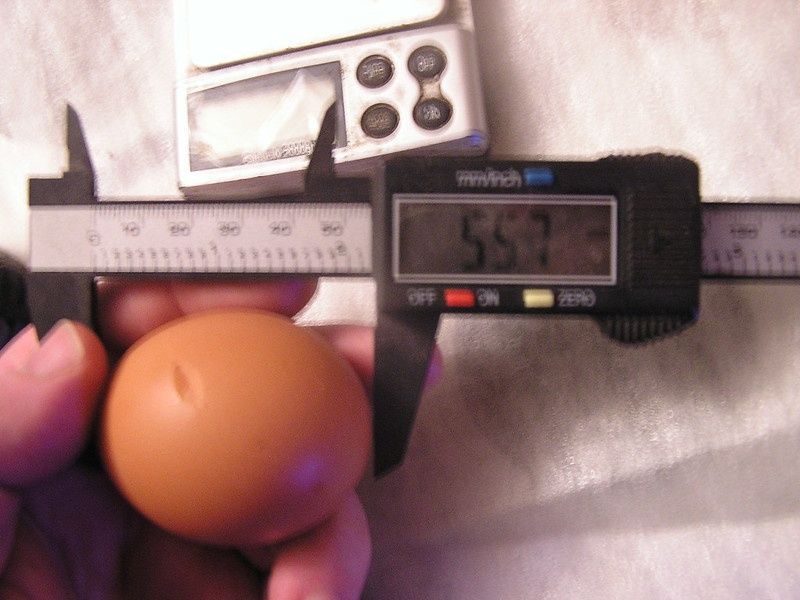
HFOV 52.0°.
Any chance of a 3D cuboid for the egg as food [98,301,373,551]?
[{"bbox_3d":[-0.222,0.171,1.110,0.361,0.125,0.306,3,82,0],"label":"egg as food"}]
